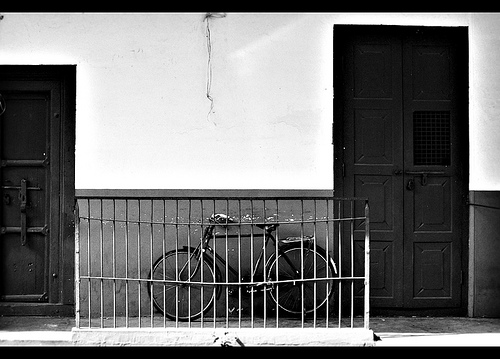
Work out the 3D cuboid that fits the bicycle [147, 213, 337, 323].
[{"bbox_3d":[-0.096,1.190,9.725,2.499,1.462,0.611,-1,-3,3],"label":"bicycle"}]
